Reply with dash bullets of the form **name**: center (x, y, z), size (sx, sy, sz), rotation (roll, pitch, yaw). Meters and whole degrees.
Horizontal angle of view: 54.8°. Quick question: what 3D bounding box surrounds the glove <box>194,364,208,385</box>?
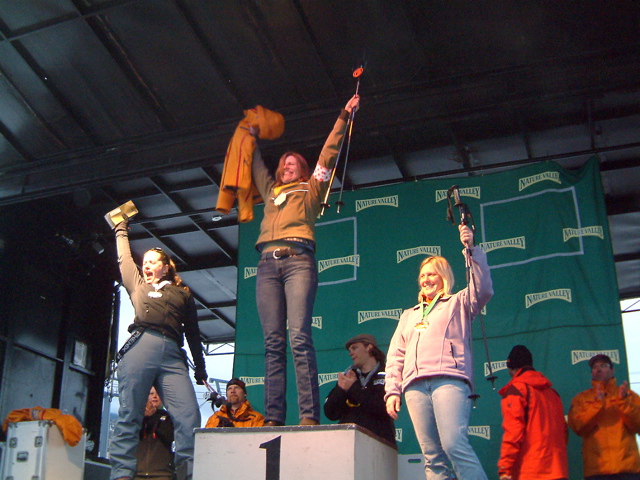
- **glove**: center (-1.077, 1.207, 5.553), size (0.058, 0.163, 0.127), rotation (-9, -61, -24)

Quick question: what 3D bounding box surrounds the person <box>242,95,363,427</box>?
- **person**: center (-0.194, 0.160, 5.280), size (1.020, 2.727, 0.361), rotation (-19, -31, 34)

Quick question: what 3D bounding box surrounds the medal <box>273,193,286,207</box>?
- **medal**: center (-0.351, -0.361, 5.446), size (0.025, 0.112, 0.109), rotation (29, -58, -37)

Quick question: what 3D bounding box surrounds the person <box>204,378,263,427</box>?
- **person**: center (-0.919, 1.803, 6.650), size (0.668, 0.628, 0.384), rotation (2, -14, 6)

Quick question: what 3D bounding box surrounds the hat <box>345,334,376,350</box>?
- **hat**: center (0.389, 0.923, 5.642), size (0.180, 0.069, 0.148), rotation (7, -31, -20)

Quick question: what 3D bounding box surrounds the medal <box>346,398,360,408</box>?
- **medal**: center (0.278, 1.417, 5.356), size (0.071, 0.074, 0.024), rotation (-29, -41, -13)
